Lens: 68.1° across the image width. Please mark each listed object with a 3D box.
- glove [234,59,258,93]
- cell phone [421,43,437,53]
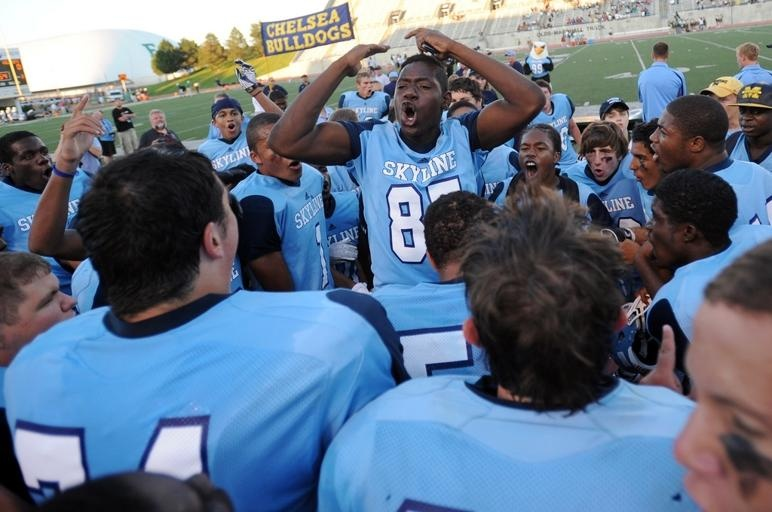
[{"bbox_3d":[-1.473,-1.930,6.089,0.205,0.352,0.499,-11,17,-11],"label":"glove"},{"bbox_3d":[0.258,-1.260,3.458,0.079,0.057,0.077,-6,17,6],"label":"cell phone"}]
